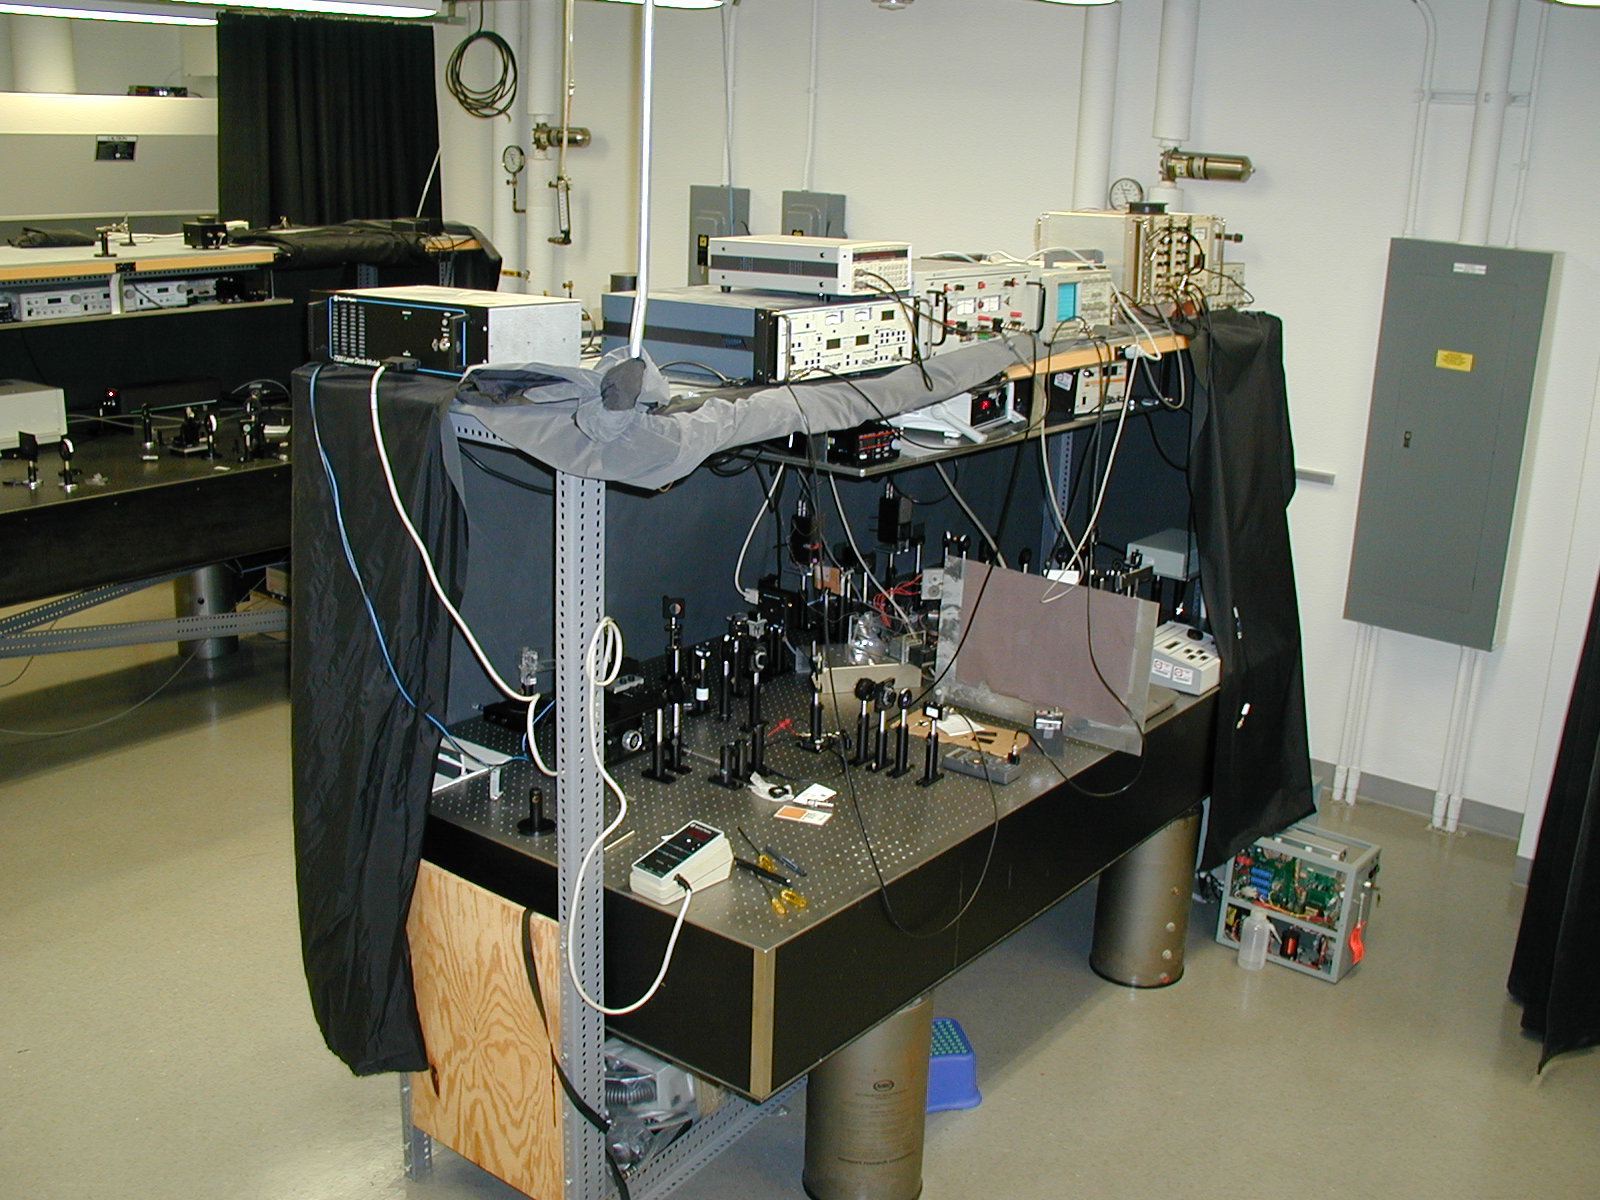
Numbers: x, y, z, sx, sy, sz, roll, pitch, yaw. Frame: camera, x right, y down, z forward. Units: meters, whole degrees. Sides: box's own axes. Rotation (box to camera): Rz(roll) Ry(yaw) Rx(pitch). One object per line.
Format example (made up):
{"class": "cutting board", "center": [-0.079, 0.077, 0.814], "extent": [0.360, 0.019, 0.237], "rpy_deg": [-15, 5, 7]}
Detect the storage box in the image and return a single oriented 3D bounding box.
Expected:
{"class": "storage box", "center": [1.724, 1.022, 4.533], "extent": [0.411, 0.437, 0.322], "rpy_deg": [13, 17, 42]}

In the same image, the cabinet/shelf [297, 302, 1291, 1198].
{"class": "cabinet/shelf", "center": [0.232, 0.239, 4.089], "extent": [1.550, 2.054, 3.312], "rpy_deg": [6, 14, 42]}
